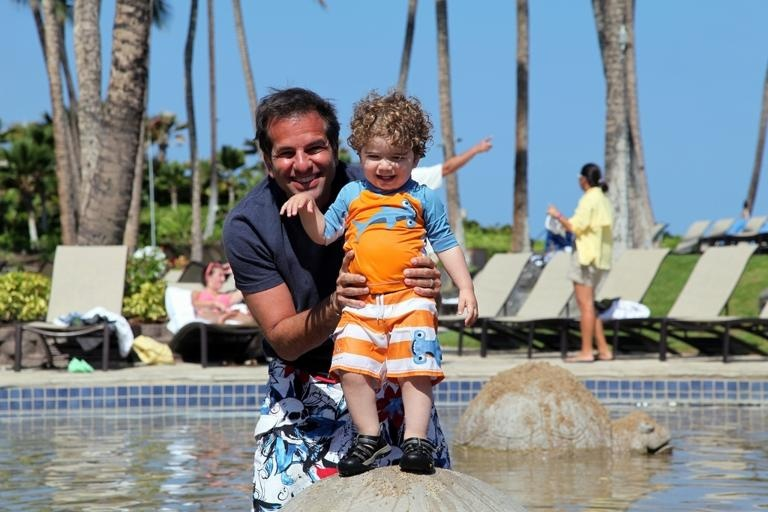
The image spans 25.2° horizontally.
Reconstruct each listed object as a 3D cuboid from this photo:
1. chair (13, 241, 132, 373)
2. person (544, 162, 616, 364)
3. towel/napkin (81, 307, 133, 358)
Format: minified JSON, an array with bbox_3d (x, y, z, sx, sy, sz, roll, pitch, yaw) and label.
[{"bbox_3d":[-6.349,1.221,36.427,3.112,2.774,1.980,4,-3,26],"label":"chair"},{"bbox_3d":[4.195,0.142,35.295,1.105,4.009,1.365,1,0,8],"label":"person"},{"bbox_3d":[-5.724,1.577,35.630,1.153,0.978,0.650,1,0,-20],"label":"towel/napkin"}]
